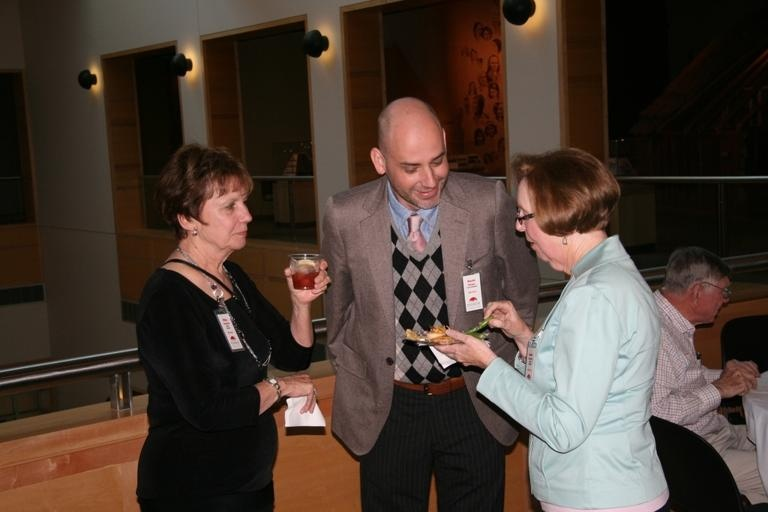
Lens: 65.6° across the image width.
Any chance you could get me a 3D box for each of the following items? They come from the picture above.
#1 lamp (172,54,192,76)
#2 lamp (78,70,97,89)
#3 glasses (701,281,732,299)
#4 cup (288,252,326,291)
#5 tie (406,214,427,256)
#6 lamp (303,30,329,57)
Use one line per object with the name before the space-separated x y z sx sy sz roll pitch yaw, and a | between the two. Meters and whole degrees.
lamp | -3.406 -3.219 9.963 0.263 0.385 0.399 -9 6 -43
lamp | -5.906 -3.503 11.840 0.378 0.404 0.095 0 4 6
glasses | 1.821 0.201 3.256 0.125 0.039 0.128 24 3 27
cup | -0.307 0.063 2.374 0.124 0.127 0.135 0 -9 0
tie | 0.132 -0.083 2.379 0.075 0.155 0.040 -3 -2 -2
lamp | -0.928 -2.863 8.156 0.332 0.377 0.358 -2 8 -16
